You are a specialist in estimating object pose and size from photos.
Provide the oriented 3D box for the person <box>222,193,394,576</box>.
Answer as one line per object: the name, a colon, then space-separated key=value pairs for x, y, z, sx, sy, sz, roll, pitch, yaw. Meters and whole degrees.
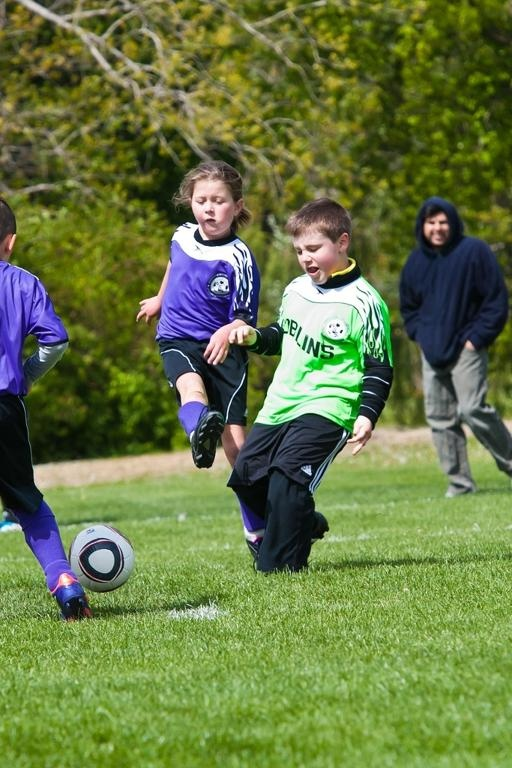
person: x=0.180 y=-0.017 z=4.168 sx=0.768 sy=1.515 sz=0.503 roll=-6 pitch=-1 yaw=17

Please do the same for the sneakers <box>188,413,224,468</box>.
sneakers: x=-0.211 y=0.216 z=4.030 sx=0.114 sy=0.244 sz=0.124 roll=12 pitch=18 yaw=-28

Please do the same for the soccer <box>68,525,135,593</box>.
soccer: x=-0.614 y=0.680 z=3.864 sx=0.267 sy=0.263 sz=0.248 roll=0 pitch=-11 yaw=-17

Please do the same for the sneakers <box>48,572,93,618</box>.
sneakers: x=-0.635 y=0.735 z=3.469 sx=0.080 sy=0.195 sz=0.096 roll=-21 pitch=-28 yaw=-11
